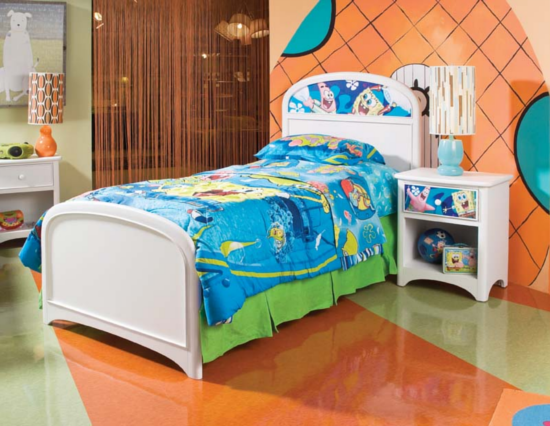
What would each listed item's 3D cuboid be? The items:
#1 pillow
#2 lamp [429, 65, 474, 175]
[{"bbox_3d":[0.383,-0.542,3.861,0.627,0.180,0.504,3,7,26],"label":"pillow"},{"bbox_3d":[1.303,-0.680,3.281,0.330,0.795,0.242,4,11,24],"label":"lamp"}]
